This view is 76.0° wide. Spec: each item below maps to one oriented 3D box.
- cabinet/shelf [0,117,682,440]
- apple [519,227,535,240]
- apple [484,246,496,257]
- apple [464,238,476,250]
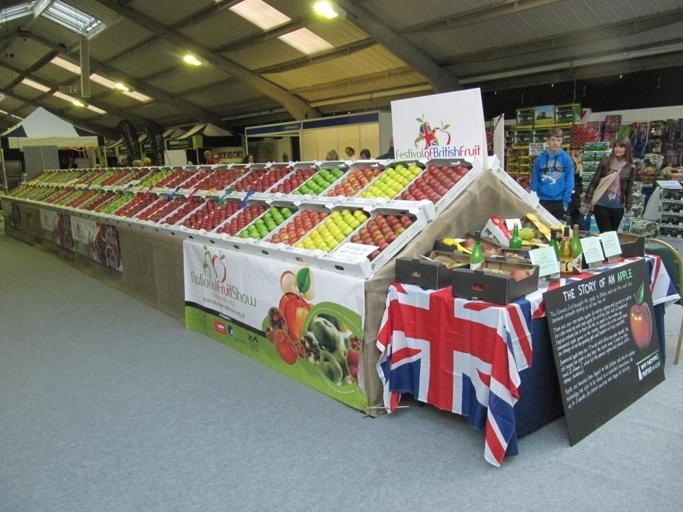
[{"bbox_3d":[-1.070,-0.273,5.337,8.154,1.693,2.261,10,17,43],"label":"cabinet/shelf"},{"bbox_3d":[1.416,-0.163,3.326,0.088,0.060,0.088,-2,-4,1],"label":"apple"},{"bbox_3d":[1.024,-0.029,3.037,0.062,0.026,0.072,12,33,29],"label":"apple"},{"bbox_3d":[0.926,-0.087,3.157,0.071,0.031,0.071,21,52,34],"label":"apple"}]
